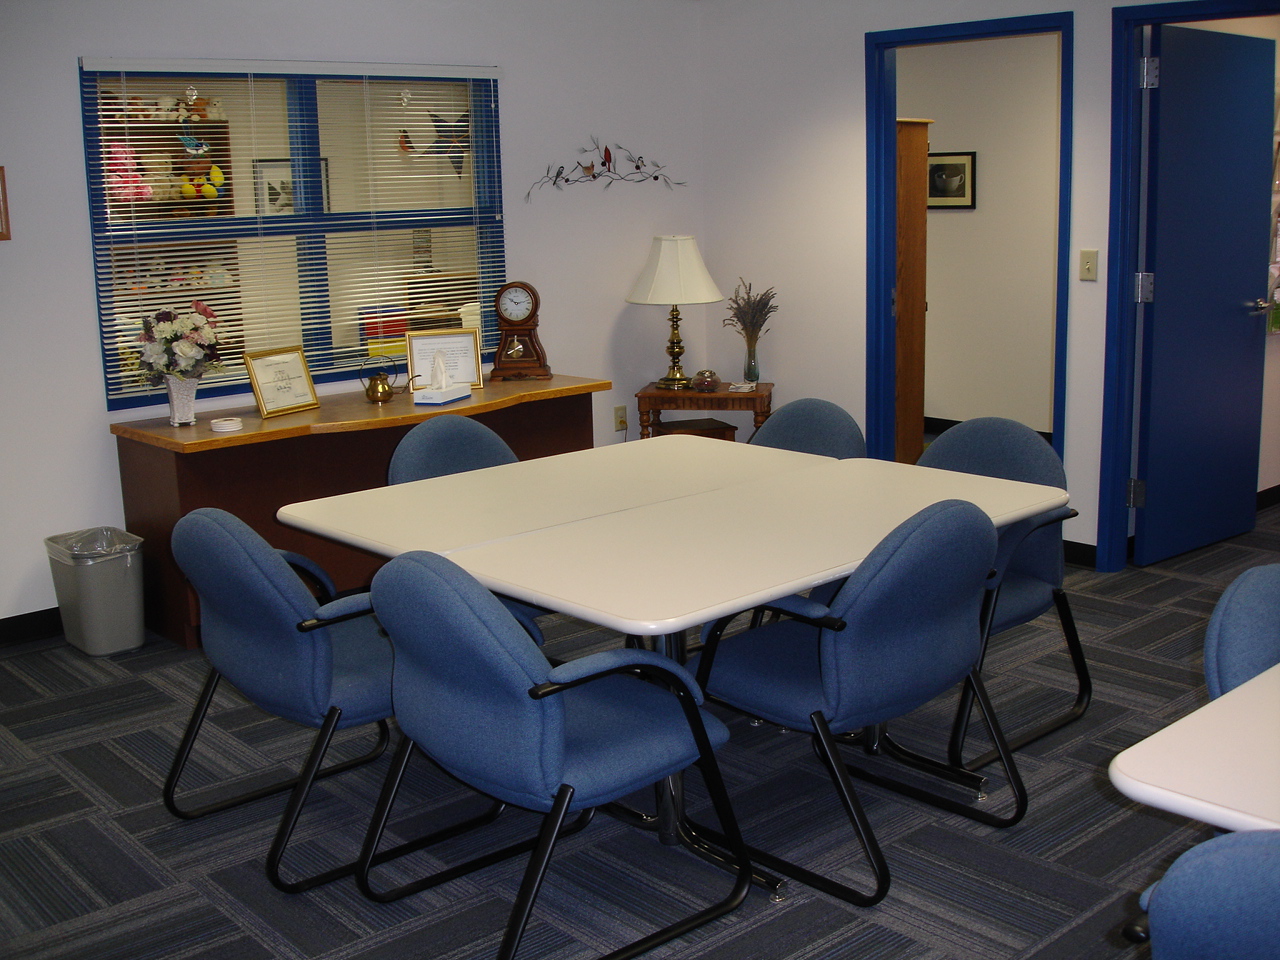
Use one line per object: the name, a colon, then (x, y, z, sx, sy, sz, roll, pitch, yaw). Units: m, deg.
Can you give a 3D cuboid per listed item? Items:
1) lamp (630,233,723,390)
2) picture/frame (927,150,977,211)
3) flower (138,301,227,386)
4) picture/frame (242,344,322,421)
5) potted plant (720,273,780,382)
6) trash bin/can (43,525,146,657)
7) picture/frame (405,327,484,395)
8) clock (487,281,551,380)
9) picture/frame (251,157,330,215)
lamp: (0.209, -0.948, 5.312, 0.477, 0.861, 0.804, 0, 14, 5)
picture/frame: (2.355, -2.265, 7.046, 0.458, 0.476, 0.034, 6, 11, 40)
flower: (-2.026, -0.560, 4.166, 0.376, 0.390, 0.378, -9, 2, -33)
picture/frame: (-1.691, -0.450, 4.387, 0.034, 0.346, 0.338, -13, 5, 42)
potted plant: (0.618, -0.909, 5.656, 0.379, 0.601, 0.385, 5, 15, 26)
trash bin/can: (-2.350, 0.480, 4.057, 0.361, 0.591, 0.437, 8, 13, 39)
picture/frame: (-0.999, -0.602, 4.779, 0.363, 0.297, 0.036, -2, -5, -24)
clock: (-0.657, -0.810, 5.074, 0.313, 0.515, 0.216, -2, 14, -1)
picture/frame: (-1.720, -1.455, 4.624, 0.376, 0.262, 0.032, -12, 17, -36)
